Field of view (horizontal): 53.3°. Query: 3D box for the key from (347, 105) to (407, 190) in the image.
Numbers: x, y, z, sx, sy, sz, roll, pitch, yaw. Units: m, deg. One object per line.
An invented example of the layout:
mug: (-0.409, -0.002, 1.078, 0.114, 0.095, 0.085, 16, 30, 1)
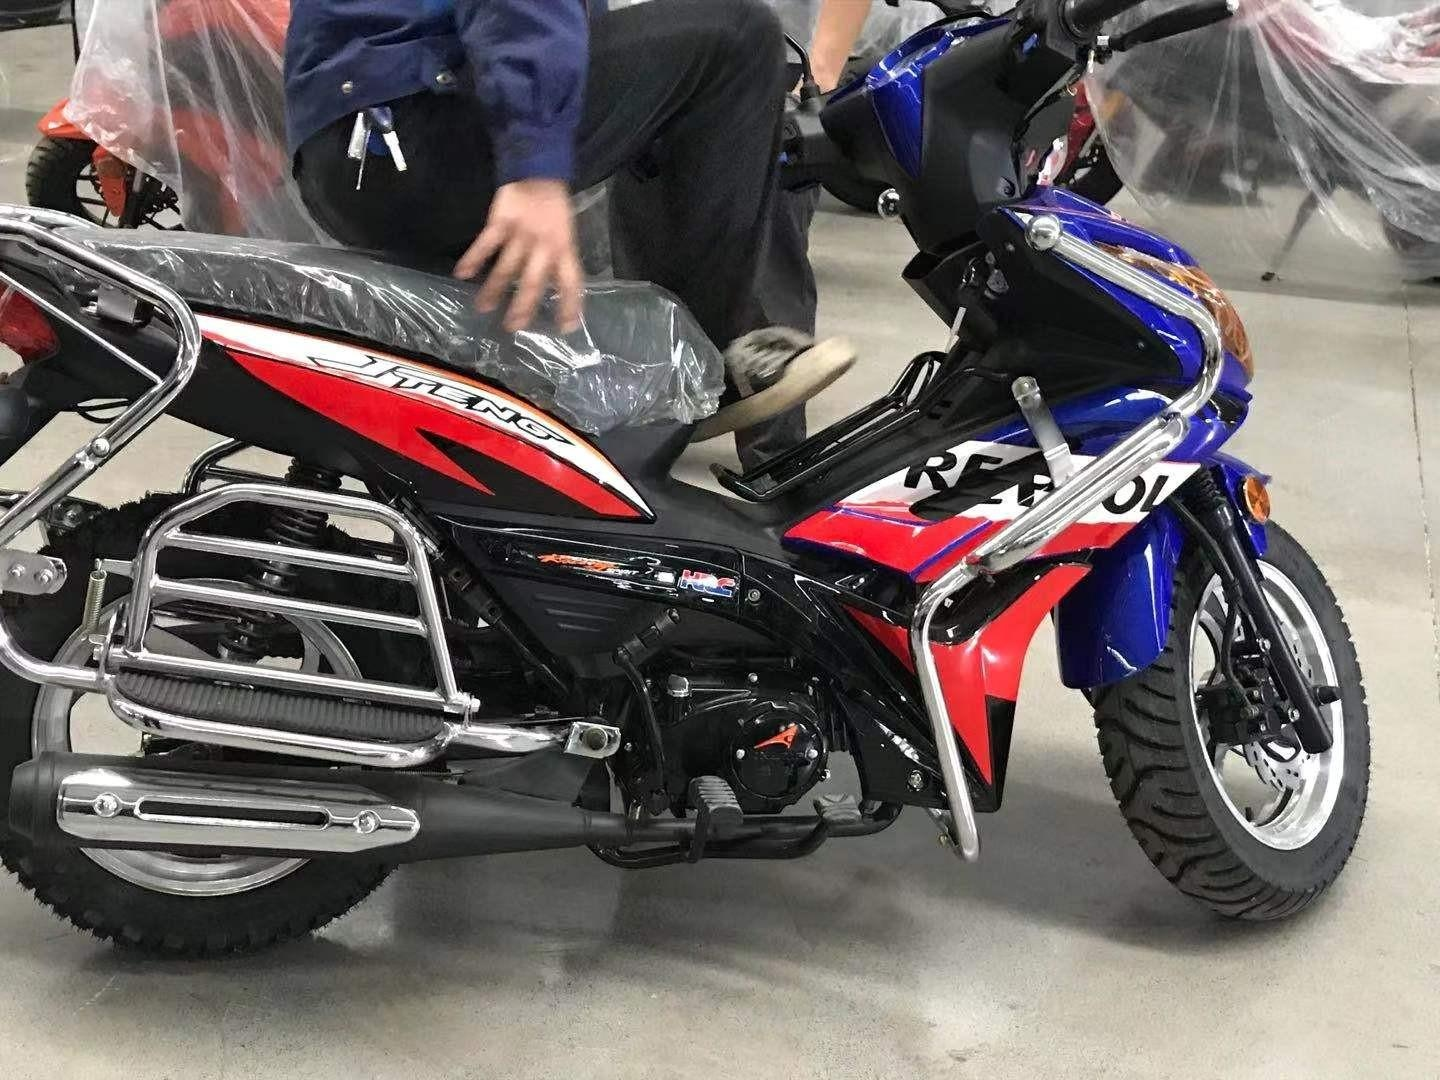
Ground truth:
key: (-0.436, -0.507, 1.895, 0.049, 0.087, 0.082, -6, 24, -29)

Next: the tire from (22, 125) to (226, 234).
tire: (-1.660, -0.925, 3.920, 0.415, 0.117, 0.439, 8, 0, 0)
